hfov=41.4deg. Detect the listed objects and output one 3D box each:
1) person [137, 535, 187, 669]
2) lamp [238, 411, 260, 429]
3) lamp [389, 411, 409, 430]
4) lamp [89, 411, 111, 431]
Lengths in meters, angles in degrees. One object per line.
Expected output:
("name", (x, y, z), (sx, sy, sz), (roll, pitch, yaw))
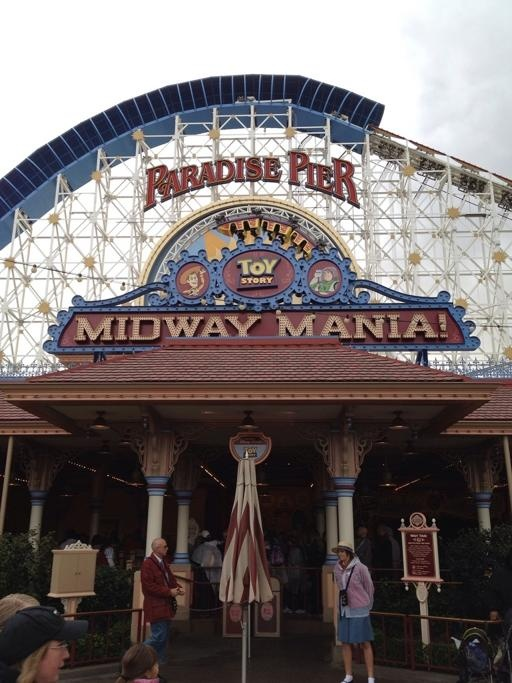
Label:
("person", (-1.060, 3.016, 7.648), (0.426, 1.533, 0.531), (-3, 10, -11))
("lamp", (-0.152, 1.196, 10.334), (0.309, 0.300, 0.329), (-8, -29, 15))
("lamp", (2.265, 1.236, 10.758), (0.329, 0.286, 0.299), (-3, -22, 17))
("lamp", (-2.528, 1.259, 10.957), (0.327, 0.286, 0.314), (-11, -24, 20))
